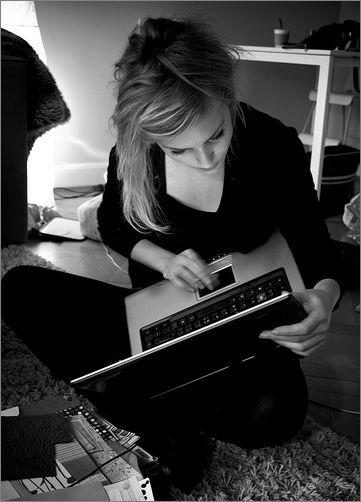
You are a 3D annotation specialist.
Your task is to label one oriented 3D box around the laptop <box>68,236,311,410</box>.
[{"bbox_3d":[0.045,0.075,0.840,0.387,0.277,0.332,-28,38,22],"label":"laptop"}]
